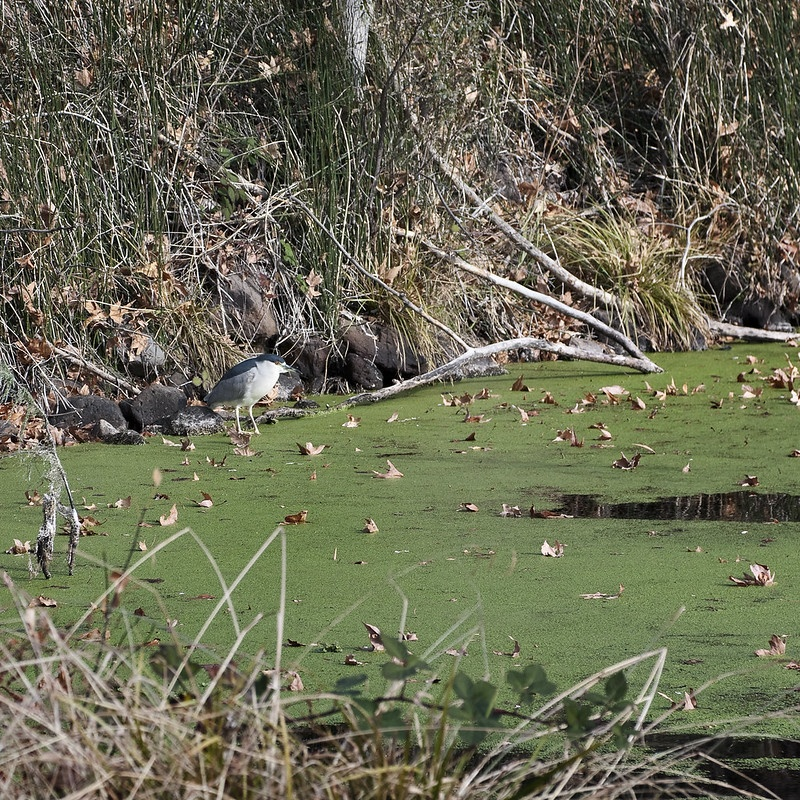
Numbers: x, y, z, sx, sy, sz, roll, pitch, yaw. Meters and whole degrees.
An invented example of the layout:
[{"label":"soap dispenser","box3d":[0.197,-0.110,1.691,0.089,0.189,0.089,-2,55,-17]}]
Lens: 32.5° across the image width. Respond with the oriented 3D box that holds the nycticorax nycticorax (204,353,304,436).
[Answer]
[{"label":"nycticorax nycticorax","box3d":[-0.847,-0.034,7.564,0.500,0.484,0.289,4,4,18]}]
